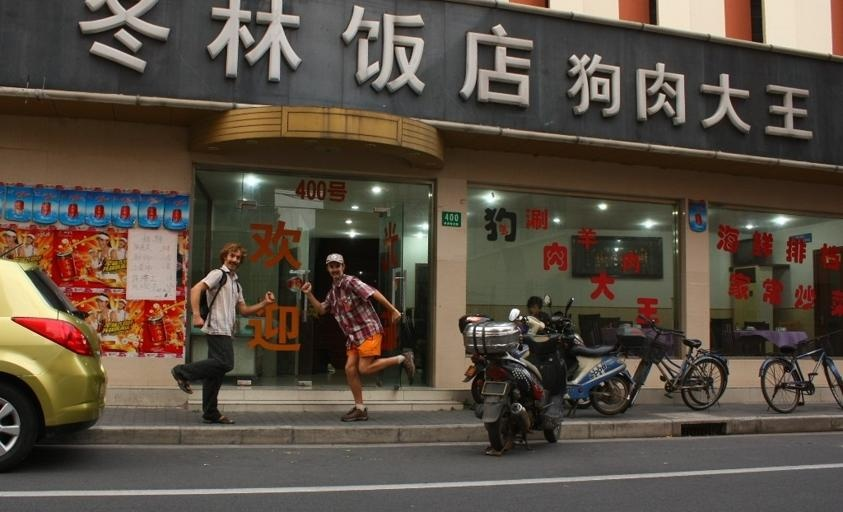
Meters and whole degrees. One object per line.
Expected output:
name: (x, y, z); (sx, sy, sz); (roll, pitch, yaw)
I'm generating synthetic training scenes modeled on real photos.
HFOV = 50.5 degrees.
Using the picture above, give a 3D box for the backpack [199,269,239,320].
backpack: (-3.459, 0.681, 14.708); (0.728, 0.728, 0.472); (-22, -2, -29)

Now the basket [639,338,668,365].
basket: (4.297, 1.767, 16.609); (0.492, 0.429, 0.260); (1, -3, -4)

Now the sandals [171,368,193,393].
sandals: (-3.879, 1.990, 14.477); (0.253, 0.422, 0.293); (1, -3, -5)

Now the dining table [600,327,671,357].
dining table: (4.241, 1.577, 16.895); (1.082, 0.639, 0.678); (3, -5, -7)

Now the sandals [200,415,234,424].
sandals: (-3.330, 2.672, 14.570); (0.502, 0.144, 0.183); (1, -6, -4)

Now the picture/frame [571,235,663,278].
picture/frame: (3.963, 0.028, 18.142); (2.003, 0.830, 0.046); (1, -3, -14)

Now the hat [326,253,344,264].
hat: (-1.482, 0.037, 15.342); (0.274, 0.184, 0.416); (1, -2, -4)
